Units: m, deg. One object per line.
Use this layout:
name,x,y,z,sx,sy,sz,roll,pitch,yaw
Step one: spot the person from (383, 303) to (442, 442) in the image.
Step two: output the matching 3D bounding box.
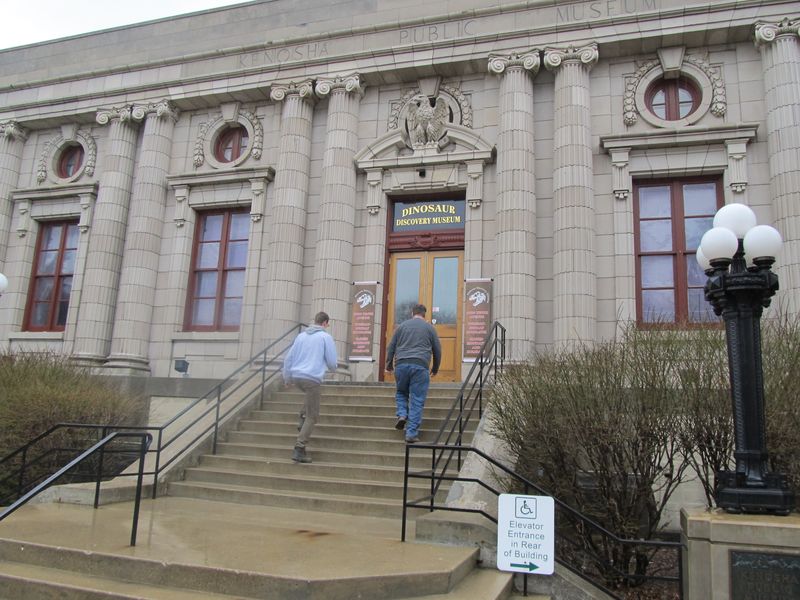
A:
person,0.220,1.175,11.601,0.914,2.430,1.212,2,-10,-1

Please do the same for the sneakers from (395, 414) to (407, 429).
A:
sneakers,0.001,2.099,11.592,0.118,0.218,0.308,3,-38,-5

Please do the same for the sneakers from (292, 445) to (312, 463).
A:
sneakers,-1.636,2.607,11.531,0.421,0.305,0.177,3,-3,-16

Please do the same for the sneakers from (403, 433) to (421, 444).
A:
sneakers,0.194,2.298,11.262,0.147,0.201,0.447,-2,-13,11

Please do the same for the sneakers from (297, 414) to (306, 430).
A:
sneakers,-1.688,2.069,11.587,0.089,0.263,0.538,3,-10,-10

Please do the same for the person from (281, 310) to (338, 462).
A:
person,-1.590,1.477,11.743,0.813,2.581,0.537,-4,-12,29
